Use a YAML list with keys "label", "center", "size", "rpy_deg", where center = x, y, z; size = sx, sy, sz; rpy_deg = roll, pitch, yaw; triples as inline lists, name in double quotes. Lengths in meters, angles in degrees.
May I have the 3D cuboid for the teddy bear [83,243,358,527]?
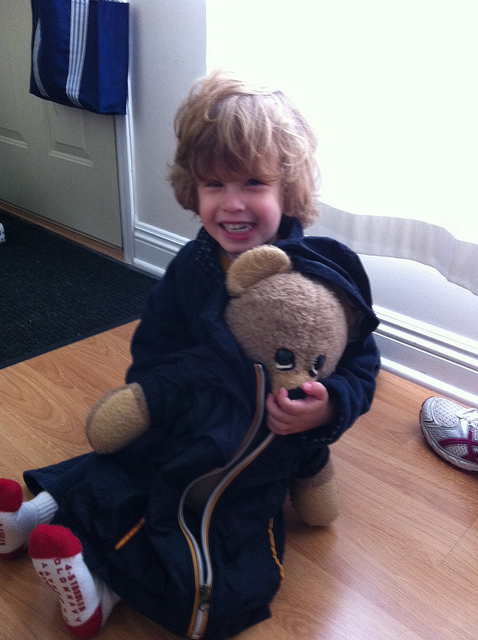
- label: "teddy bear"
  center: [0.001, 0.102, 0.786]
  size: [0.401, 0.370, 0.220]
  rpy_deg: [15, 16, 1]
